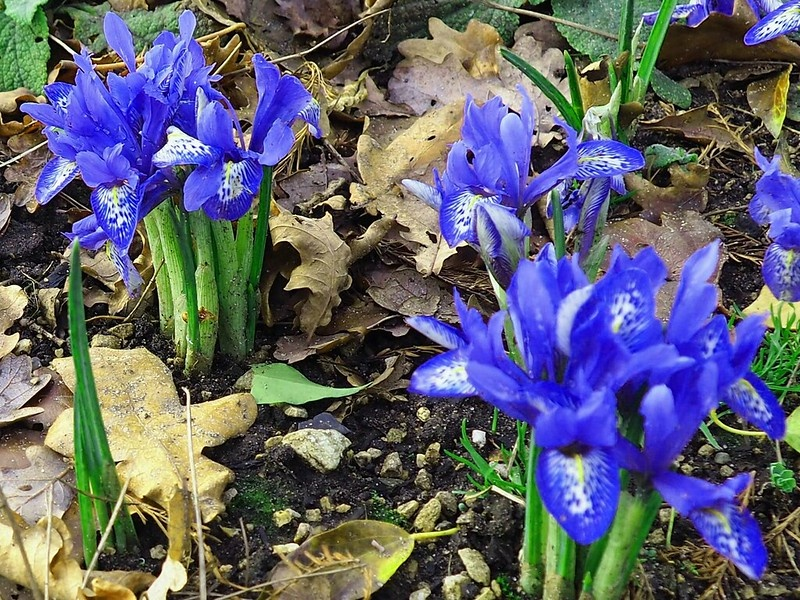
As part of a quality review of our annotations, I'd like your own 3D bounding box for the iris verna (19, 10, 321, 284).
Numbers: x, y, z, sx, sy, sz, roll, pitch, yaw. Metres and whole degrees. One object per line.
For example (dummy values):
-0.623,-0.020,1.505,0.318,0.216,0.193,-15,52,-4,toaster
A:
-0.659,-0.456,2.493,0.721,0.656,0.902,41,63,18,iris verna
